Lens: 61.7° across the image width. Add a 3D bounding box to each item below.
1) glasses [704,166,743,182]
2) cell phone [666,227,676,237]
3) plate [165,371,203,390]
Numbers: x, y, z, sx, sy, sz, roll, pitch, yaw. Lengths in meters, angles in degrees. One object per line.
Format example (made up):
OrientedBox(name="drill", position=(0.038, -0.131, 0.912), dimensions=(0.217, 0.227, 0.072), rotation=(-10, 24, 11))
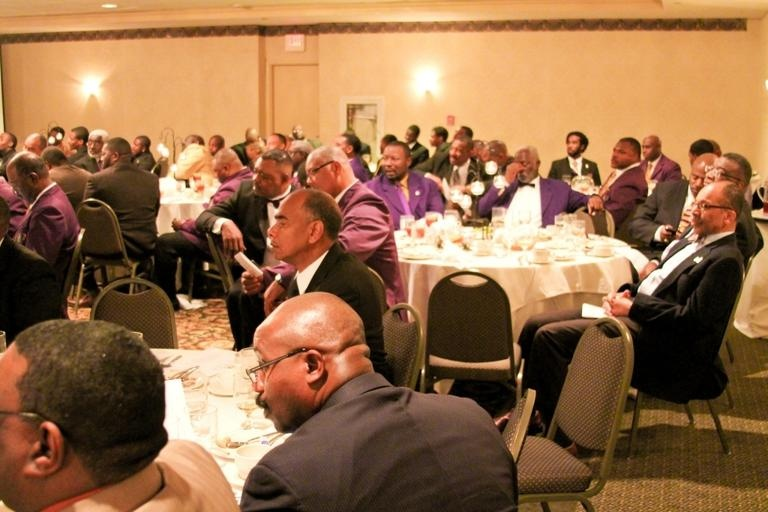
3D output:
OrientedBox(name="glasses", position=(2.373, -0.567, 4.529), dimensions=(0.177, 0.057, 0.170), rotation=(24, -4, -25))
OrientedBox(name="cell phone", position=(2.325, -0.194, 5.202), dimensions=(0.041, 0.055, 0.179), rotation=(7, -8, 32))
OrientedBox(name="plate", position=(-0.801, 0.501, 2.590), dimensions=(0.110, 0.032, 0.113), rotation=(2, 14, 1))
